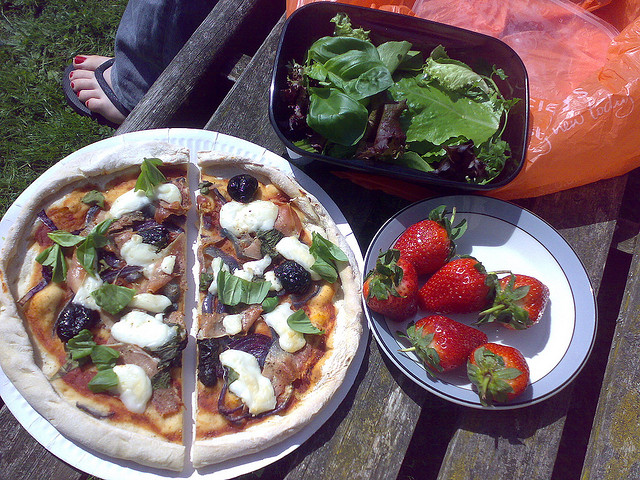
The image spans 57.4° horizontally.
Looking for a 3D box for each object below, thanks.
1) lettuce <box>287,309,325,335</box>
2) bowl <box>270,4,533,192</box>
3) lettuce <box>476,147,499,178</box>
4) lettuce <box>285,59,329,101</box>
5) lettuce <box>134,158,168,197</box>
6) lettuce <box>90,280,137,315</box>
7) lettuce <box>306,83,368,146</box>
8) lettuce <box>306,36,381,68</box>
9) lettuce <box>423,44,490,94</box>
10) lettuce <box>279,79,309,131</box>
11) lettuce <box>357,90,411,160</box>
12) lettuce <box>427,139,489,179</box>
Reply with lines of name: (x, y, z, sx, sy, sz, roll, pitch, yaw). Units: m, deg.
lettuce: (-0.075, 0.436, 2.935, 0.185, 0.058, 0.104, 45, 78, 1)
bowl: (0.384, -0.724, 2.908, 1.207, 0.292, 0.851, 10, 90, -8)
lettuce: (0.812, -0.382, 2.877, 0.080, 0.027, 0.134, -18, 97, 29)
lettuce: (-0.064, -0.812, 2.912, 0.174, 0.071, 0.185, 6, 74, 28)
lettuce: (-0.883, -0.324, 3.059, 0.184, 0.209, 0.076, 15, 90, 35)
lettuce: (-1.038, 0.290, 2.959, 0.249, 0.057, 0.176, 2, 52, 24)
lettuce: (0.079, -0.590, 2.794, 0.299, 0.075, 0.212, 34, 78, -1)
lettuce: (0.097, -0.936, 2.970, 0.325, 0.341, 0.084, -14, 86, 41)
lettuce: (0.662, -0.836, 2.909, 0.313, 0.096, 0.212, 32, 74, 8)
lettuce: (-0.126, -0.676, 2.911, 0.140, 0.050, 0.231, 8, 102, -4)
lettuce: (0.307, -0.554, 2.860, 0.169, 0.216, 0.240, 28, 44, -29)
lettuce: (0.695, -0.379, 2.920, 0.206, 0.101, 0.229, 2, 91, 0)
